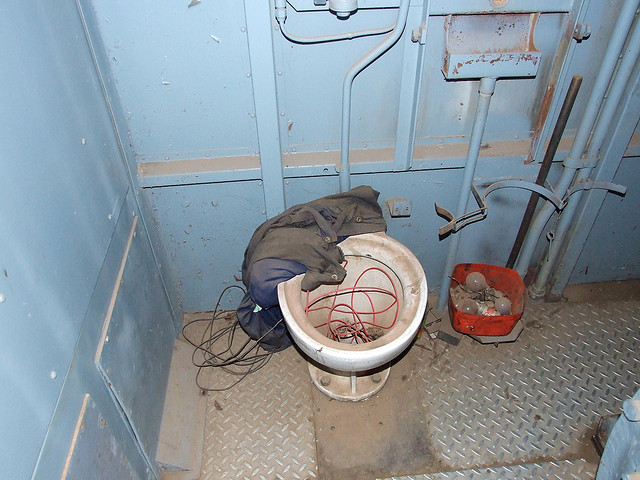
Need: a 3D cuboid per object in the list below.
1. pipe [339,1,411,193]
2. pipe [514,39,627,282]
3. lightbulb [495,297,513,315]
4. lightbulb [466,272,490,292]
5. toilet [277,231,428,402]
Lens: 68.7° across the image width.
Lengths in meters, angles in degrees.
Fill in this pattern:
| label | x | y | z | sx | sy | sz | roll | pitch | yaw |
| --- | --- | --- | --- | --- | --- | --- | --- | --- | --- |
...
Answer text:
| label | x | y | z | sx | sy | sz | roll | pitch | yaw |
| --- | --- | --- | --- | --- | --- | --- | --- | --- | --- |
| pipe | 0.274 | -0.764 | 2.404 | 0.255 | 0.944 | 0.113 | -14 | 48 | -8 |
| pipe | 1.339 | -0.341 | 2.733 | 0.142 | 1.525 | 0.167 | 12 | 34 | 7 |
| lightbulb | 1.099 | 0.397 | 2.812 | 0.086 | 0.116 | 0.096 | -6 | 44 | 17 |
| lightbulb | 0.975 | 0.273 | 2.943 | 0.118 | 0.100 | 0.094 | 18 | 14 | -31 |
| toilet | 0.168 | 0.546 | 2.455 | 0.720 | 0.870 | 0.669 | -10 | 36 | -13 |
